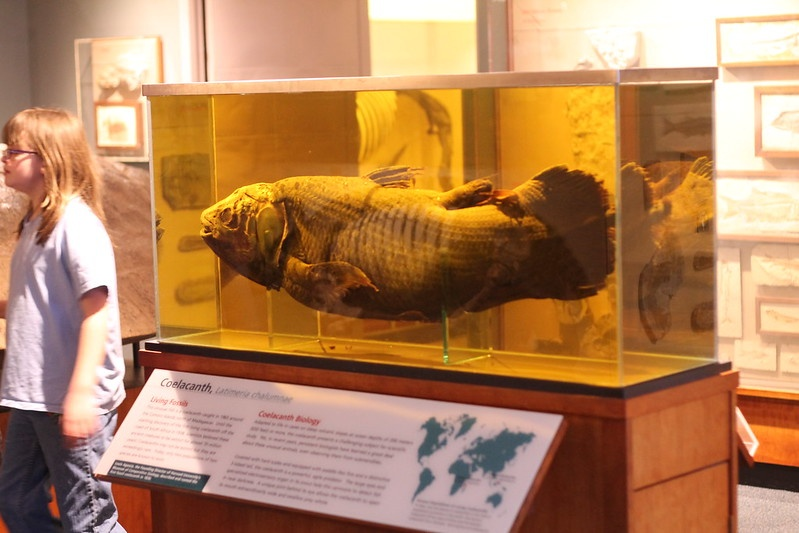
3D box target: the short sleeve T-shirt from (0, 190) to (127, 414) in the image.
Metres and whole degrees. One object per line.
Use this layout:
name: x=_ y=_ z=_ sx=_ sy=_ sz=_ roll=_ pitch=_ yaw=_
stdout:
short sleeve T-shirt: x=-1.319 y=0.141 z=2.973 sx=0.441 sy=0.793 sz=0.263 roll=-3 pitch=11 yaw=-15

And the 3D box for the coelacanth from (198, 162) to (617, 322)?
coelacanth: x=-0.025 y=-0.074 z=2.955 sx=1.541 sy=0.613 sz=0.437 roll=0 pitch=1 yaw=16
